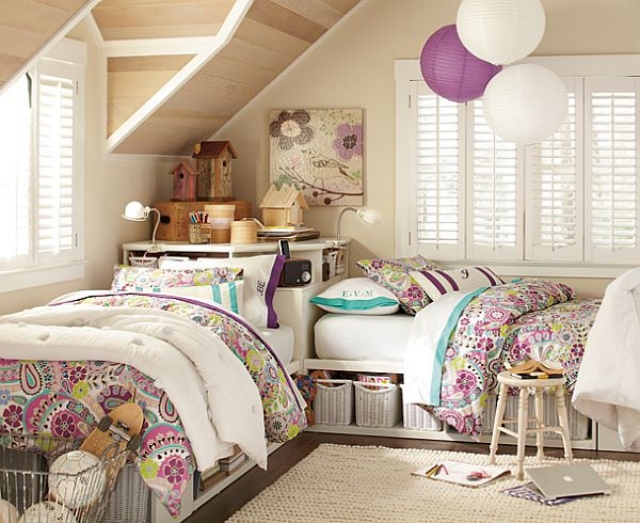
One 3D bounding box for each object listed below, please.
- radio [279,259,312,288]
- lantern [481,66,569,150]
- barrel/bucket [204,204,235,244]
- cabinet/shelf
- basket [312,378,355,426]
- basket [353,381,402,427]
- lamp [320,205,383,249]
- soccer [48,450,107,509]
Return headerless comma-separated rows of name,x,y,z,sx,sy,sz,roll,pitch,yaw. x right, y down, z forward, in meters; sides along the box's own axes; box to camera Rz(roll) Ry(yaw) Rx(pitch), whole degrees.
radio,-0.127,0.054,3.260,0.178,0.150,0.247,1,3,26
lantern,1.084,-0.858,3.002,0.503,0.438,0.458,2,14,21
barrel/bucket,-0.639,-0.252,3.623,0.271,0.238,0.252,0,1,0
cabinet/shelf,-0.342,0.156,3.612,1.039,0.605,0.949,0,2,20
basket,0.084,0.827,3.265,0.285,0.286,0.334,0,1,10
basket,0.330,0.818,3.157,0.254,0.231,0.281,1,1,21
lamp,0.257,-0.236,3.604,0.377,0.241,0.143,1,15,22
soccer,-0.727,0.669,1.696,0.192,0.155,0.171,7,-17,11
